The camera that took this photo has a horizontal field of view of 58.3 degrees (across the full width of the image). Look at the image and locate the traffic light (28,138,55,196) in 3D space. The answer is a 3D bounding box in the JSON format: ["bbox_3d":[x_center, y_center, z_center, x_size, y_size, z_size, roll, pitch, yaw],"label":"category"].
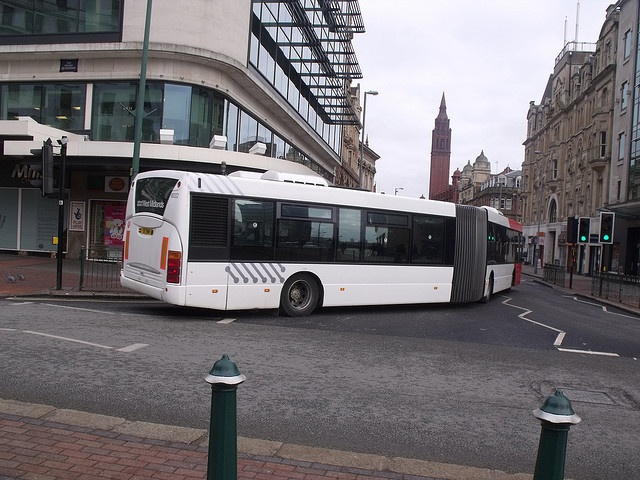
[{"bbox_3d":[-7.323,-1.959,15.198,0.530,1.503,0.767,1,2,-32],"label":"traffic light"}]
